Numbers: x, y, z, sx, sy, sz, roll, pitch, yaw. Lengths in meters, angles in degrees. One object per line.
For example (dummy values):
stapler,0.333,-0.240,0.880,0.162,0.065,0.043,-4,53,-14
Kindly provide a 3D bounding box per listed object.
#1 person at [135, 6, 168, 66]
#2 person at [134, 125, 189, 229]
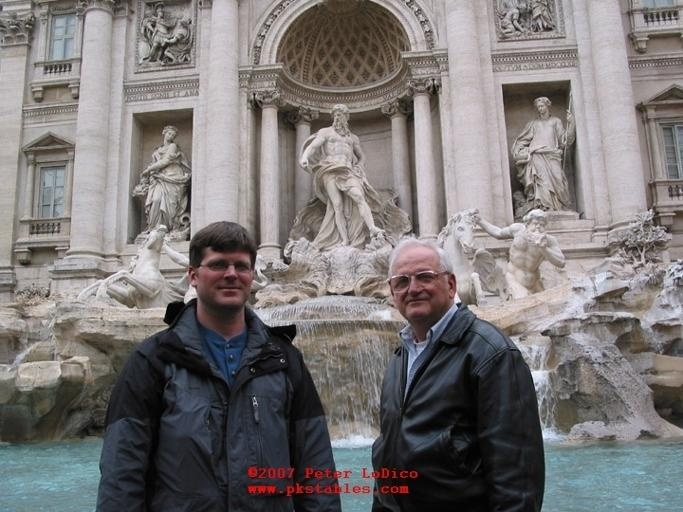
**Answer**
person,-5.964,-7.137,19.653,1.036,2.048,0.343,-7,-11,23
person,-5.351,-2.320,18.745,1.486,3.229,0.813,1,-11,-18
